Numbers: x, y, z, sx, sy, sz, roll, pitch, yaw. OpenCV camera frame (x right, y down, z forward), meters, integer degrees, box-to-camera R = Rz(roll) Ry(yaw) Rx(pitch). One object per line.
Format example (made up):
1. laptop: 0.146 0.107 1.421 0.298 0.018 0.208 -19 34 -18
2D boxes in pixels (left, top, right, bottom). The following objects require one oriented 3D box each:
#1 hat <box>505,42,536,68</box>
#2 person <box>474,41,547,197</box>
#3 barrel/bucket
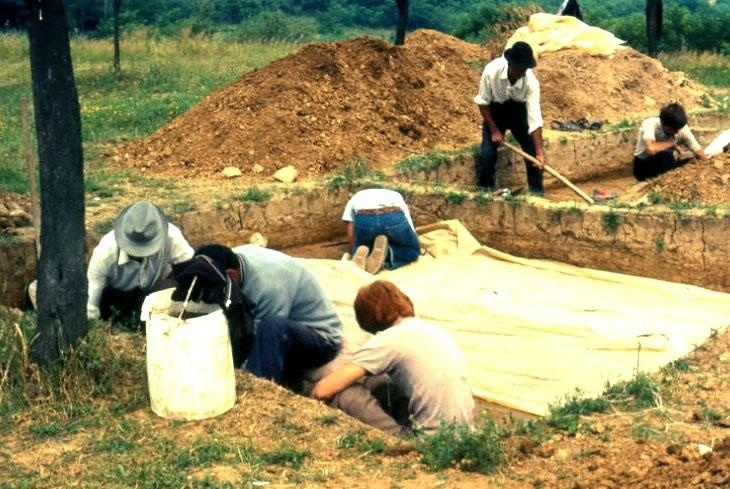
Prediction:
1. hat: 2.636 -3.168 28.798 0.538 0.436 0.224 3 10 4
2. person: 2.486 -2.154 29.294 0.972 2.610 1.525 -6 12 -38
3. barrel/bucket: -2.562 1.600 26.006 1.714 1.861 1.686 -1 11 0
